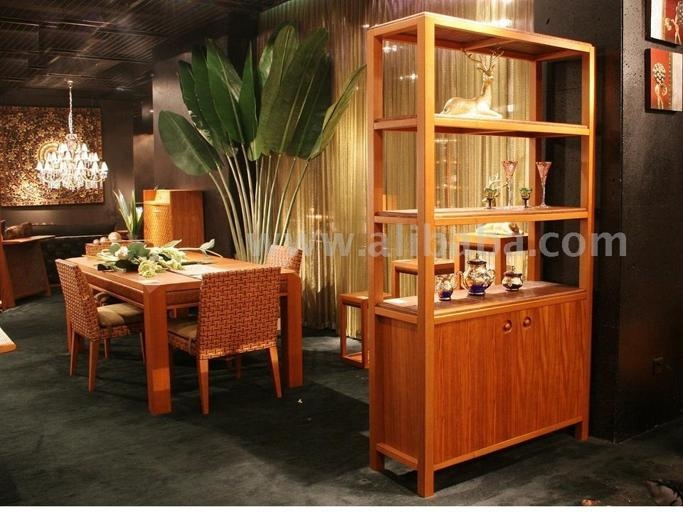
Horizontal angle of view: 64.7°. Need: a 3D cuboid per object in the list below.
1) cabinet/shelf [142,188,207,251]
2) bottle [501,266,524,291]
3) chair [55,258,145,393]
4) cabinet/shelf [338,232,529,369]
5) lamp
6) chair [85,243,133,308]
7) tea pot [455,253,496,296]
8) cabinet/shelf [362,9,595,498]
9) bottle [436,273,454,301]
[{"bbox_3d":[-2.599,-0.451,7.940,0.566,1.275,1.391,2,-3,-24],"label":"cabinet/shelf"},{"bbox_3d":[1.080,0.139,3.452,0.147,0.186,0.157,-2,4,0],"label":"bottle"},{"bbox_3d":[-2.012,0.554,4.630,0.612,0.953,0.666,6,7,37],"label":"chair"},{"bbox_3d":[0.708,0.393,4.306,1.309,0.745,1.263,-4,5,-33],"label":"cabinet/shelf"},{"bbox_3d":[-5.296,-2.171,10.673,1.222,1.625,1.153,-1,9,-12],"label":"lamp"},{"bbox_3d":[-2.029,0.190,4.730,0.205,0.360,0.626,-6,10,-37],"label":"chair"},{"bbox_3d":[0.824,0.127,3.279,0.256,0.208,0.179,0,0,-12],"label":"tea pot"},{"bbox_3d":[0.848,-0.031,3.248,1.485,2.530,0.600,-6,9,-33],"label":"cabinet/shelf"},{"bbox_3d":[0.604,0.189,3.195,0.144,0.148,0.114,1,0,-35],"label":"bottle"}]
